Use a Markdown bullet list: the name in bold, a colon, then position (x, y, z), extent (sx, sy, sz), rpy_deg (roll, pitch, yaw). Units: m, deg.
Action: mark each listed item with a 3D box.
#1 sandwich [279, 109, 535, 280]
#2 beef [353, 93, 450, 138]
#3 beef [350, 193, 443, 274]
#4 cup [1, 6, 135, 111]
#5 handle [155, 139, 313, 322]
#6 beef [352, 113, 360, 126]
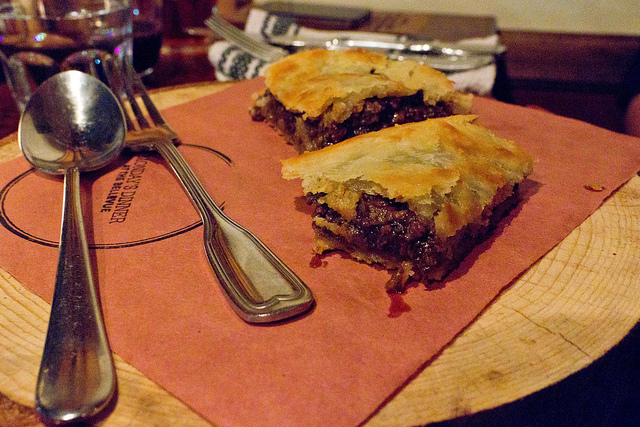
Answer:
- **sandwich**: position (0.323, -0.075, 1.805), extent (0.817, 0.236, 0.587), rpy_deg (-9, 42, -14)
- **beef**: position (0.326, -0.429, 2.198), extent (0.337, 0.096, 0.198), rpy_deg (-12, 33, -10)
- **beef**: position (0.219, 0.058, 1.699), extent (0.268, 0.210, 0.206), rpy_deg (-4, 18, -8)
- **cup**: position (-1.113, -0.685, 2.628), extent (0.505, 0.417, 0.552), rpy_deg (2, 16, 0)
- **handle**: position (-0.290, 0.050, 1.746), extent (0.207, 0.068, 0.752), rpy_deg (-19, 45, -24)
- **beef**: position (0.139, -0.373, 2.202), extent (0.024, 0.041, 0.011), rpy_deg (0, 2, -1)
